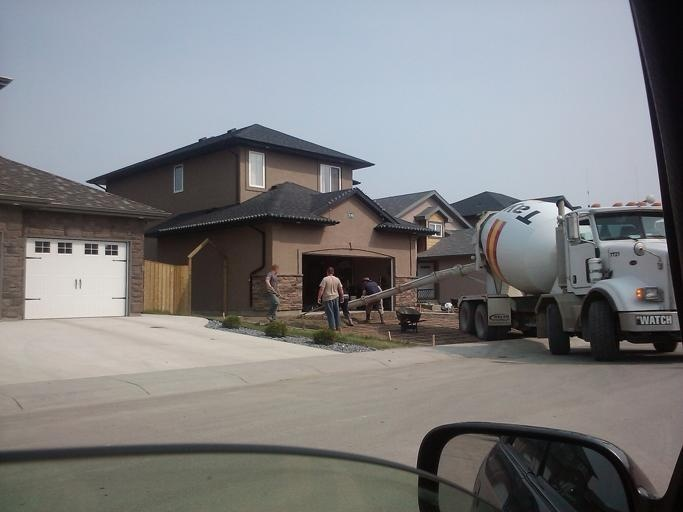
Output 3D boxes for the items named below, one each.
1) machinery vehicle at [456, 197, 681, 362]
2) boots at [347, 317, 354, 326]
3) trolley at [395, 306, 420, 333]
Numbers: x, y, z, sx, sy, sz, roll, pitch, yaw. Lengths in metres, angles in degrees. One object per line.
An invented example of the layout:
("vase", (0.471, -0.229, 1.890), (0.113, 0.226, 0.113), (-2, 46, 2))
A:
("machinery vehicle", (5.631, 0.294, 13.280), (1.793, 4.223, 6.731), (0, -6, -11))
("boots", (0.328, 2.543, 20.008), (0.223, 0.285, 0.748), (-2, -6, 4))
("trolley", (2.272, 2.208, 18.108), (0.702, 0.612, 0.923), (2, -15, -5))
